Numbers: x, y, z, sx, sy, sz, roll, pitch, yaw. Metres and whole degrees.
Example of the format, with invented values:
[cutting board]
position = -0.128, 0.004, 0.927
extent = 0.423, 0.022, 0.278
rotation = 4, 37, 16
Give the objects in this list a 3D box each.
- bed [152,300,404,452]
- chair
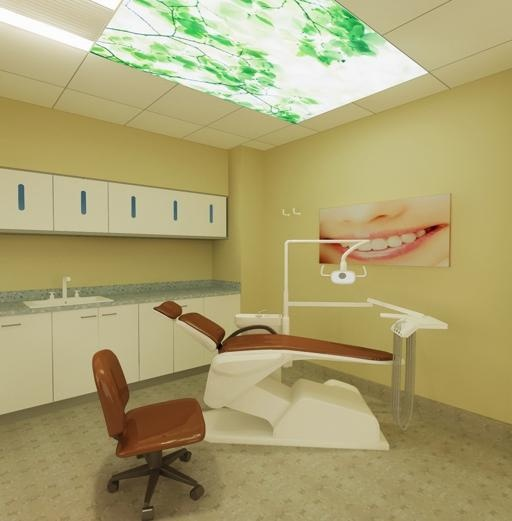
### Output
[bed]
position = 0.122, 0.835, 3.338
extent = 1.853, 0.803, 0.771
rotation = 3, -2, -1
[chair]
position = -0.617, 0.961, 2.599
extent = 0.588, 0.884, 0.624
rotation = -3, 12, -13
